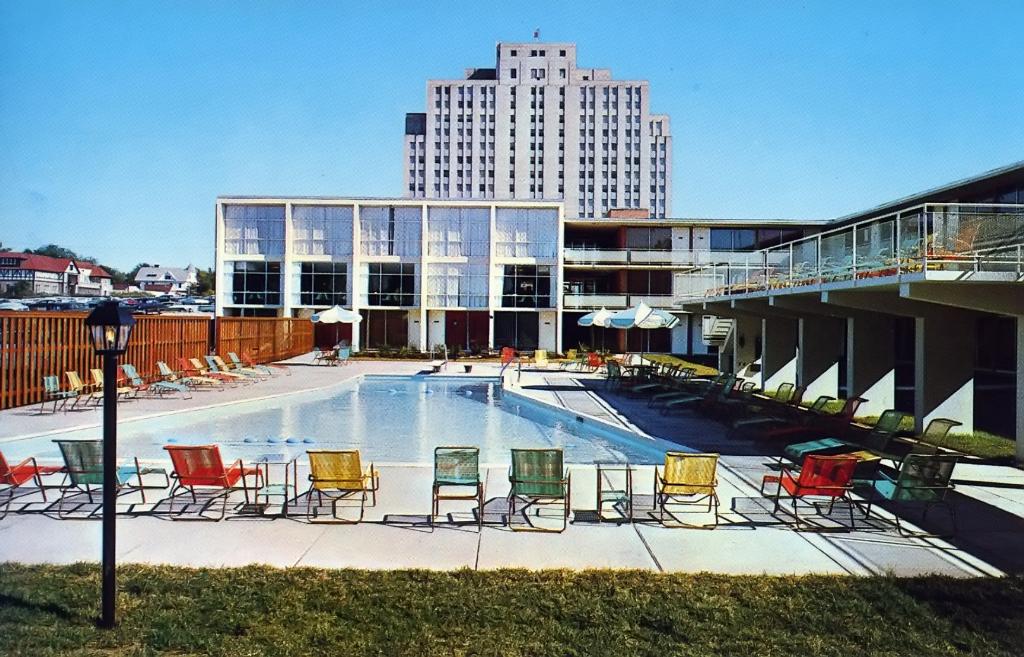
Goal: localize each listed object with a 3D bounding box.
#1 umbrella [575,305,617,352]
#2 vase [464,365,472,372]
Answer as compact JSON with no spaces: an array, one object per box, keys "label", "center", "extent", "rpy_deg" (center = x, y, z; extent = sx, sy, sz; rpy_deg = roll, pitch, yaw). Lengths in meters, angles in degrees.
[{"label":"umbrella","center":[4.098,0.001,45.092],"extent":[2.332,2.600,2.347],"rpy_deg":[0,-2,8]},{"label":"vase","center":[-1.709,1.558,37.401],"extent":[0.246,0.182,0.239],"rpy_deg":[-1,-6,6]}]
